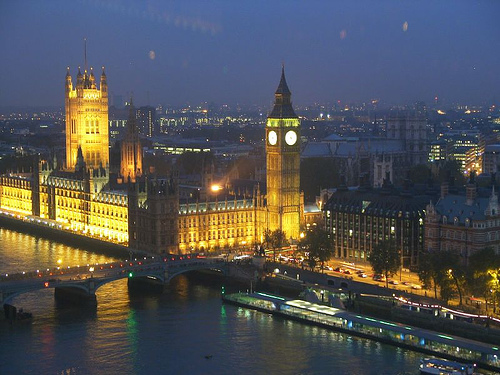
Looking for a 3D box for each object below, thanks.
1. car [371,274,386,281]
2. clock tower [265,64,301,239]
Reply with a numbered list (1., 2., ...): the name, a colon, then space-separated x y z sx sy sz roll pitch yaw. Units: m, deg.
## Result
1. car: 18.879 13.224 150.247 1.223 0.774 1.664 1 -2 -10
2. clock tower: 5.770 -4.368 176.586 5.428 26.463 3.721 -1 1 -3
